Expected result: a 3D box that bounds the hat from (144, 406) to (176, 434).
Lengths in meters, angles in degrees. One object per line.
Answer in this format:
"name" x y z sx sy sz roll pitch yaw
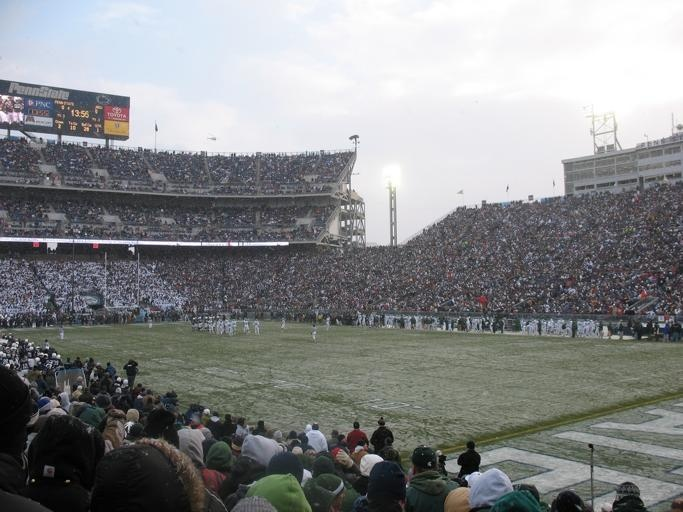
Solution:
"hat" -7.696 6.973 41.368 0.915 1.163 1.250 4 13 10
